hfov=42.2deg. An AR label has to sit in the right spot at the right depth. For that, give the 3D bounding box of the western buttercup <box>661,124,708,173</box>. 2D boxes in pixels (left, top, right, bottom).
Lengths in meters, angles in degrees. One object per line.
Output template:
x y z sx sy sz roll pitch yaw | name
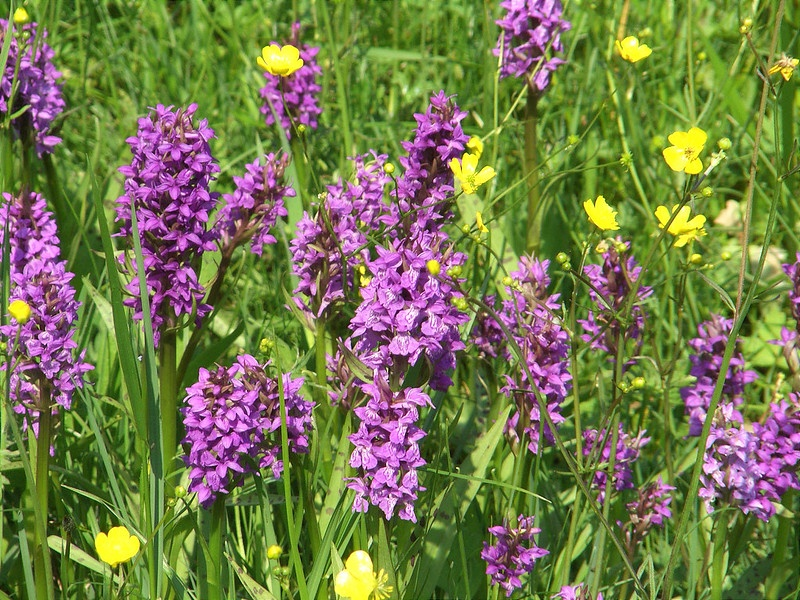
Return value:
0.867 -0.496 3.231 0.120 0.058 0.150 13 17 1 | western buttercup

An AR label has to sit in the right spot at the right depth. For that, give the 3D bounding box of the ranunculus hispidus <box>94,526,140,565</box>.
-0.837 0.755 3.084 0.109 0.044 0.126 -27 59 -14 | ranunculus hispidus

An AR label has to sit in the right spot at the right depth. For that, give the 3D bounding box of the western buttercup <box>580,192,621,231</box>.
0.642 -0.241 3.268 0.125 0.054 0.152 8 51 -35 | western buttercup

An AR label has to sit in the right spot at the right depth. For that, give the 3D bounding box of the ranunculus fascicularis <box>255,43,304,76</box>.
-0.414 -0.801 3.543 0.142 0.112 0.279 -4 19 -12 | ranunculus fascicularis

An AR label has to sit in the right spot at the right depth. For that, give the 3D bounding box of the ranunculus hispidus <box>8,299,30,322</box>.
-1.099 0.027 3.020 0.048 0.090 0.030 8 24 6 | ranunculus hispidus
